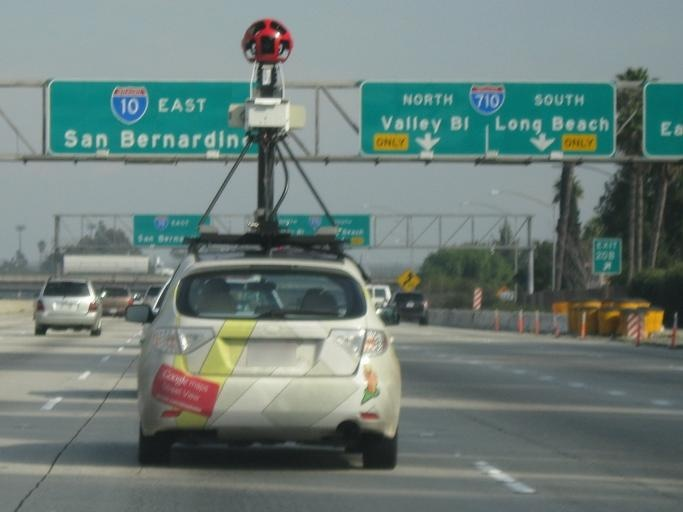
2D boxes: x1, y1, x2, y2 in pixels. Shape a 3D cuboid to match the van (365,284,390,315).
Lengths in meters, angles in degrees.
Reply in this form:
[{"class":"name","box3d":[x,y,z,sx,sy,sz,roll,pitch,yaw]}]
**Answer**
[{"class":"van","box3d":[1.840,2.264,64.185,1.140,1.335,2.487,0,-6,0]}]
